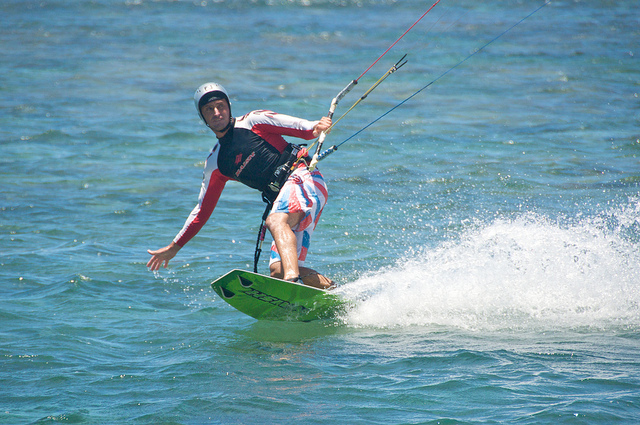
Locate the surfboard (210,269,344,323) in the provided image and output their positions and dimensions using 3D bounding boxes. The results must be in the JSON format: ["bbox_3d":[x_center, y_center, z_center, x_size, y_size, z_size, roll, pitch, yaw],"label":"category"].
[{"bbox_3d":[-0.799,1.472,22.033,3.009,0.705,0.356,12,27,-6],"label":"surfboard"}]
